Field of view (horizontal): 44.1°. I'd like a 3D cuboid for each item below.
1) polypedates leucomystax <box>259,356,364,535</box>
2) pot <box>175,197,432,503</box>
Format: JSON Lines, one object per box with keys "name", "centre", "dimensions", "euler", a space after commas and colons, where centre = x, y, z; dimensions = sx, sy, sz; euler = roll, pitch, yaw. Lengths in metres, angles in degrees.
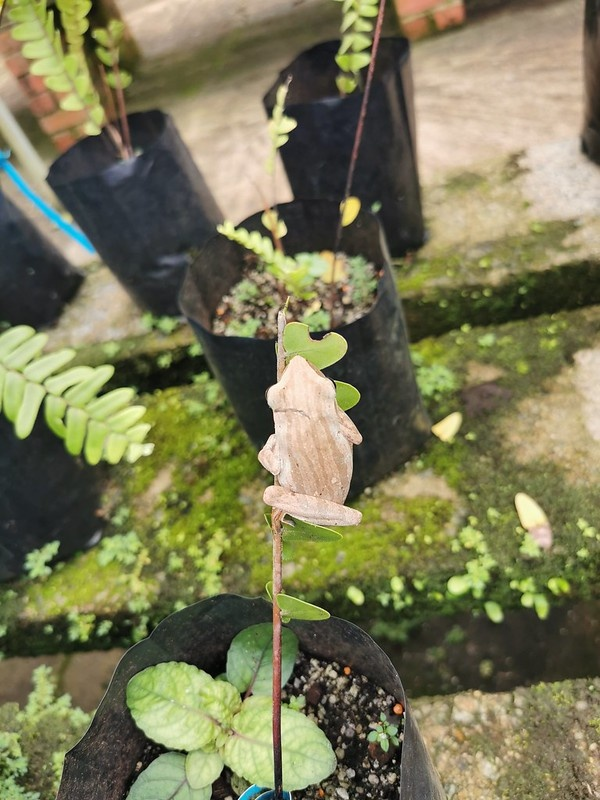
{"name": "polypedates leucomystax", "centre": [0.021, 0.063, 1.179], "dimensions": [0.196, 0.259, 0.097], "euler": [-3, 6, -3]}
{"name": "pot", "centre": [0.020, -0.111, 1.753], "dimensions": [0.506, 0.746, 0.450], "euler": [-40, 66, -12]}
